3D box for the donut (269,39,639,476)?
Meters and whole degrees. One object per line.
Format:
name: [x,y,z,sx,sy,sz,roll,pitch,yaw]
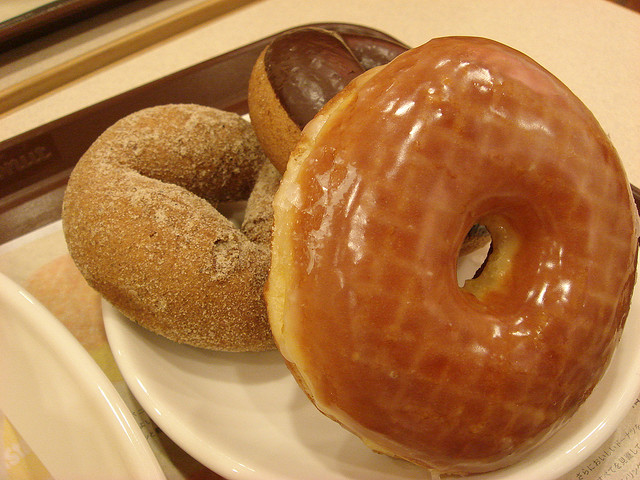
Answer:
donut: [0.090,-0.007,0.708,0.427,0.414,0.146,16,-14,-32]
